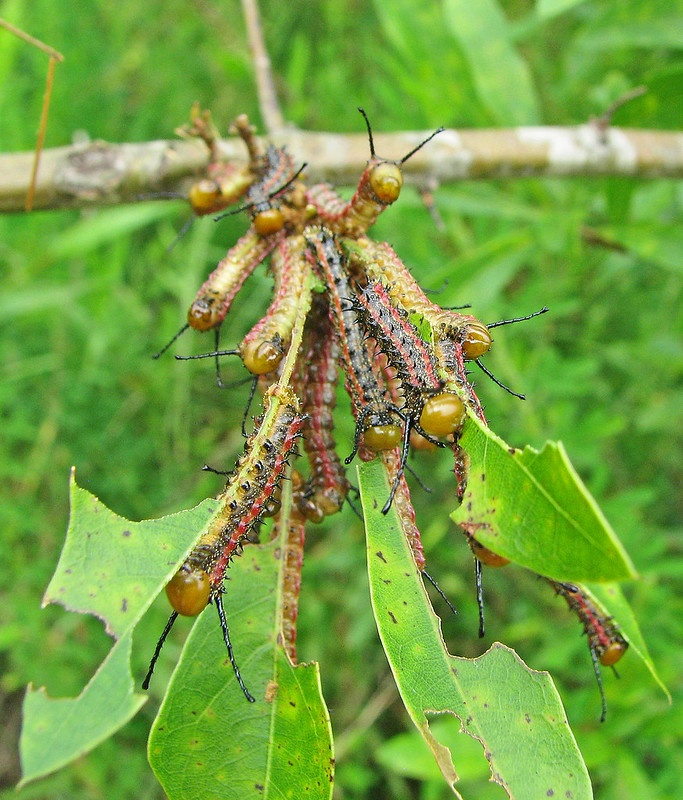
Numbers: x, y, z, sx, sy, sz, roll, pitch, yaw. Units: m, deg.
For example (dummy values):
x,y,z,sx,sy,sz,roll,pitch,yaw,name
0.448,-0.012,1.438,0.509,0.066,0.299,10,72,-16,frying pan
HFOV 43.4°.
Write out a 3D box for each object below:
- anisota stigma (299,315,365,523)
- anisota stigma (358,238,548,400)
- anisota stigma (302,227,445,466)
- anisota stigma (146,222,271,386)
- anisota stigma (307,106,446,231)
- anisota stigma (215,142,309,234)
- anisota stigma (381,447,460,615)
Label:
x,y,z,sx,sy,sz,roll,pitch,yaw,name
-0.037,0.058,2.037,0.172,0.126,0.443,0,86,-12,anisota stigma
0.172,-0.204,1.891,0.165,0.264,0.481,-44,61,-15,anisota stigma
0.038,-0.114,1.948,0.232,0.121,0.541,-17,80,-23,anisota stigma
-0.261,-0.217,2.019,0.213,0.120,0.347,31,90,18,anisota stigma
0.029,-0.466,1.990,0.173,0.457,0.116,28,56,-19,anisota stigma
-0.172,-0.471,2.013,0.150,0.078,0.273,13,52,19,anisota stigma
0.142,0.267,1.860,0.126,0.062,0.395,-20,85,-25,anisota stigma
